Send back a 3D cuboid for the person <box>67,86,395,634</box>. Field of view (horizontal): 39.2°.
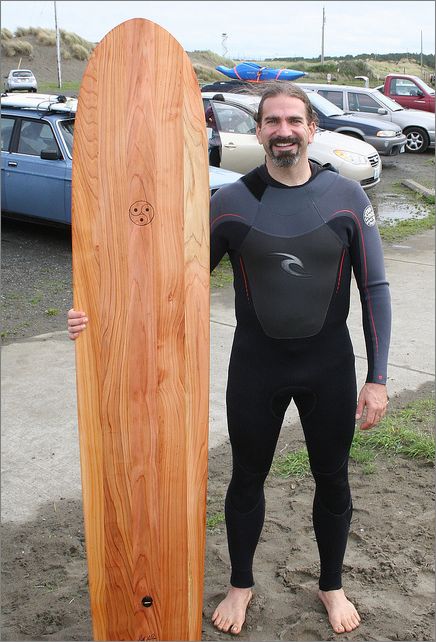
[{"bbox_3d":[0.242,0.161,1.909,0.552,1.725,0.295,1,10,-2],"label":"person"}]
